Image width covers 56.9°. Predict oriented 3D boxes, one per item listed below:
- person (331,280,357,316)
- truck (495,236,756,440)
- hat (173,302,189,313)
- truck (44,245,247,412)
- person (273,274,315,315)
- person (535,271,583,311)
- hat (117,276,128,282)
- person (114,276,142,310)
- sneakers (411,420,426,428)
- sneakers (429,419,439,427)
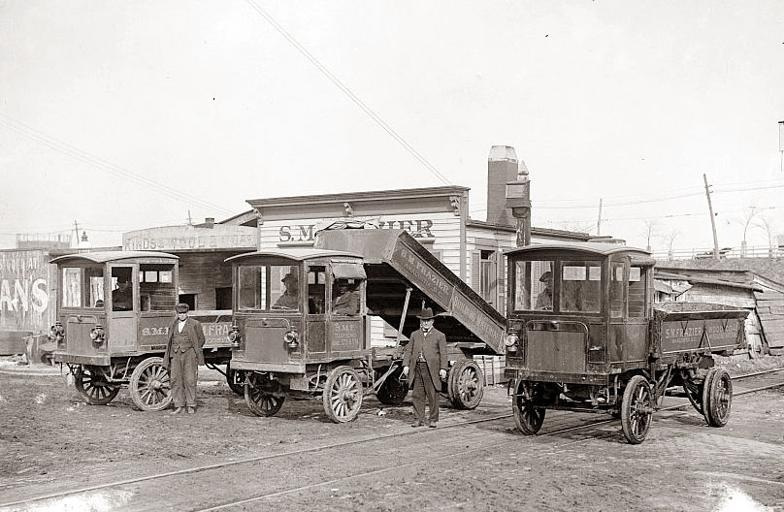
[{"bbox_3d":[-1.231,1.047,17.723,0.727,0.711,0.317,-1,-14,44],"label":"person"},{"bbox_3d":[5.812,2.057,17.894,6.607,4.387,3.656,1,-1,-41],"label":"truck"},{"bbox_3d":[-5.393,1.355,18.557,0.348,0.276,0.281,-4,6,27],"label":"hat"},{"bbox_3d":[-6.772,2.086,21.354,3.465,4.343,6.024,-3,-1,39],"label":"truck"},{"bbox_3d":[-2.375,0.842,17.266,1.023,0.806,0.509,-8,-7,17],"label":"person"},{"bbox_3d":[3.756,0.778,15.370,0.885,0.837,0.206,5,-3,10],"label":"person"},{"bbox_3d":[-7.169,0.622,19.218,0.175,0.168,0.041,8,3,-9],"label":"hat"},{"bbox_3d":[-7.125,1.005,19.114,0.515,0.825,0.267,1,0,-22],"label":"person"},{"bbox_3d":[0.638,3.931,16.942,0.363,0.254,0.135,5,-3,1],"label":"sneakers"},{"bbox_3d":[0.971,3.899,16.811,0.153,0.102,0.378,-1,-7,3],"label":"sneakers"}]
